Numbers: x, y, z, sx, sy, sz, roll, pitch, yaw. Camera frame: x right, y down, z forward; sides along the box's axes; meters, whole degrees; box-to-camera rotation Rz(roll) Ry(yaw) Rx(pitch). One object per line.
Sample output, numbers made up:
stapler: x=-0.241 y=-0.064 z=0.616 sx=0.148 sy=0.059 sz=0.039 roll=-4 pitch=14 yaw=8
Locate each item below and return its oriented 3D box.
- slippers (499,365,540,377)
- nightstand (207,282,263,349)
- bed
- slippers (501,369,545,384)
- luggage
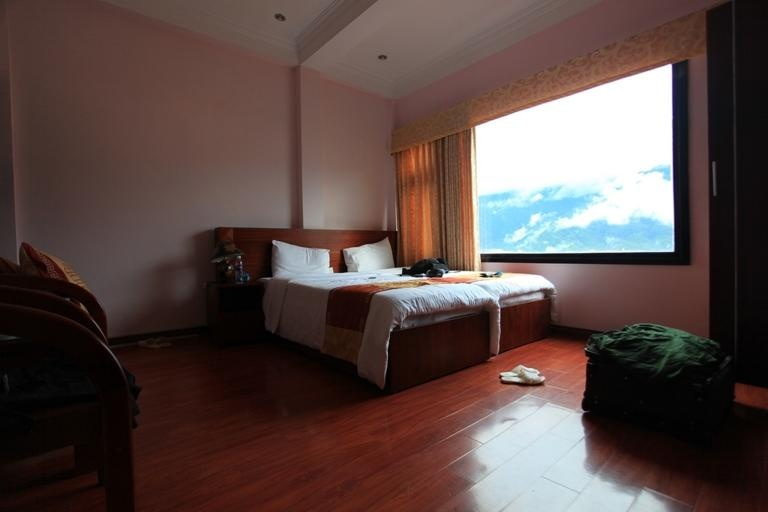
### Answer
slippers: x=1.161 y=0.986 z=4.197 sx=0.222 sy=0.057 sz=0.138 roll=-1 pitch=-10 yaw=-9
nightstand: x=-1.611 y=0.625 z=5.283 sx=0.475 sy=0.608 sz=0.571 roll=1 pitch=4 yaw=-27
bed: x=-0.230 y=0.224 z=5.642 sx=3.474 sy=1.459 sz=3.160 roll=2 pitch=3 yaw=-34
slippers: x=1.146 y=1.020 z=4.107 sx=0.217 sy=0.066 sz=0.162 roll=-4 pitch=-6 yaw=25
luggage: x=1.986 y=0.894 z=3.626 sx=0.919 sy=0.539 sz=0.534 roll=5 pitch=13 yaw=28
